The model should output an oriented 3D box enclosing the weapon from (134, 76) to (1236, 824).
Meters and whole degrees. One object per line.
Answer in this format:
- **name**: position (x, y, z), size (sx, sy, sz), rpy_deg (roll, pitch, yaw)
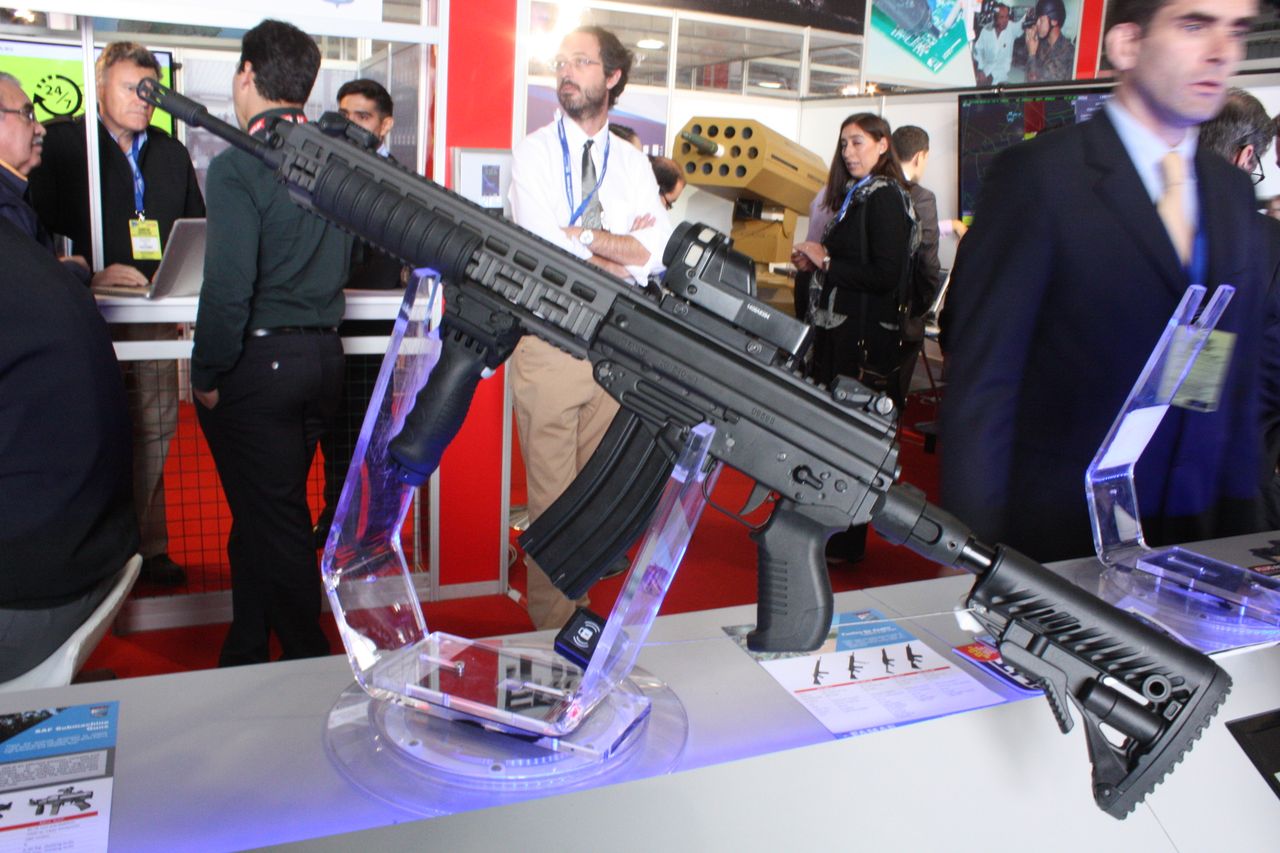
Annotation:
- **weapon**: position (0.120, 0.040, 1.577), size (1.736, 1.042, 0.228), rpy_deg (6, 18, 10)
